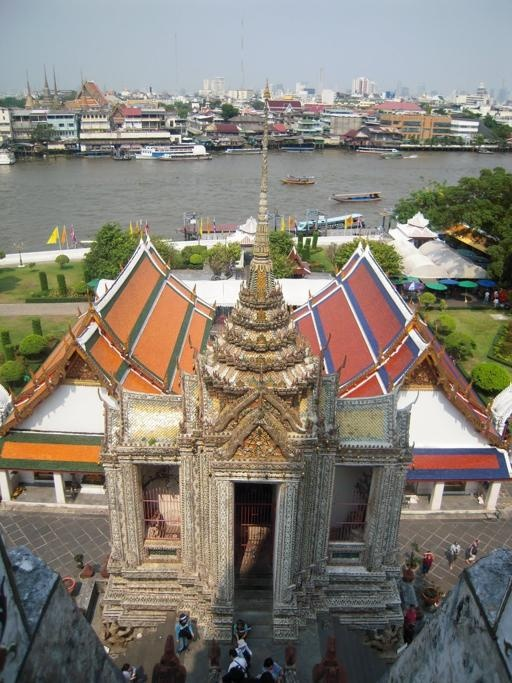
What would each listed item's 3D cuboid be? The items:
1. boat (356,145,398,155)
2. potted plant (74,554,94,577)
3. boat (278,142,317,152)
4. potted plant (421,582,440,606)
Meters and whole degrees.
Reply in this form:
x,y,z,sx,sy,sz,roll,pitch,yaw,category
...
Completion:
x,y,z,sx,sy,sz,roll,pitch,yaw,category
26.920,-42.588,127.211,7.828,1.564,4.012,3,38,8,boat
-4.347,5.644,14.510,0.686,0.160,0.449,28,-1,-26,potted plant
9.595,-44.738,131.572,7.818,2.597,6.095,3,11,6,boat
4.180,6.006,13.614,0.389,0.367,0.382,-29,22,-27,potted plant
